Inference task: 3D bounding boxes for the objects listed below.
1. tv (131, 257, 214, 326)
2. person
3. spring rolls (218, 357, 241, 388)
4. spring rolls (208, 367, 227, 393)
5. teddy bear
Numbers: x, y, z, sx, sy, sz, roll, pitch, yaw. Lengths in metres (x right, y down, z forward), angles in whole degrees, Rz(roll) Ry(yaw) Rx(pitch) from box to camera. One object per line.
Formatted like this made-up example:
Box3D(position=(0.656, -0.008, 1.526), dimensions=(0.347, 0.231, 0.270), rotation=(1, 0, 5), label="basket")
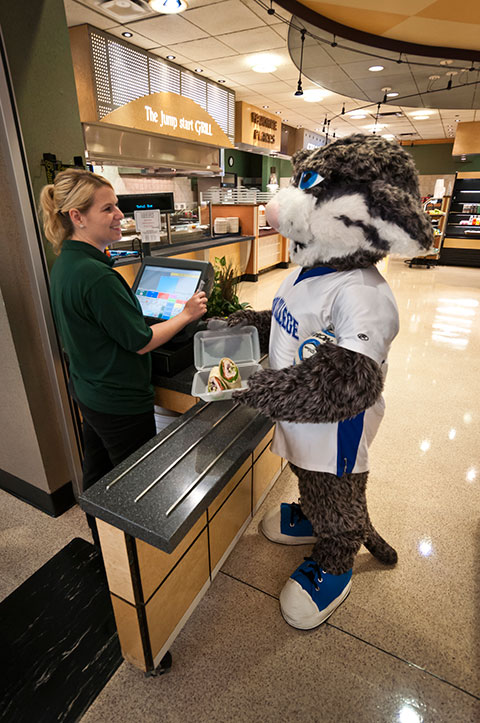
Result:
Box3D(position=(-0.268, -0.270, 1.869), dimensions=(0.286, 0.112, 0.257), rotation=(10, 64, 30), label="tv")
Box3D(position=(-0.462, 0.054, 1.791), dimensions=(0.507, 1.456, 0.398), rotation=(15, 29, 33), label="person")
Box3D(position=(-0.035, 0.041, 1.460), dimensions=(0.057, 0.033, 0.093), rotation=(-15, 72, -19), label="spring rolls")
Box3D(position=(-0.072, 0.062, 1.434), dimensions=(0.049, 0.079, 0.092), rotation=(-8, 25, -14), label="spring rolls")
Box3D(position=(0.285, 0.155, 1.450), dimensions=(0.576, 1.553, 0.673), rotation=(-2, 24, 0), label="teddy bear")
